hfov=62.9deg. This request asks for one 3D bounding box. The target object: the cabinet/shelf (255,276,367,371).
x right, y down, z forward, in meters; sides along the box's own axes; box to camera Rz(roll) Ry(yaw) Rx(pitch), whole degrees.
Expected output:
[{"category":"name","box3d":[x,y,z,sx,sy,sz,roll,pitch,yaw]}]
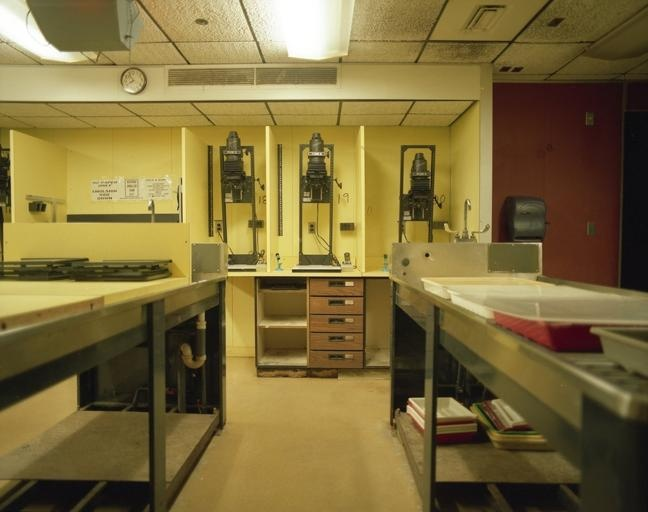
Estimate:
[{"category":"cabinet/shelf","box3d":[-0.131,0.538,4.883,0.965,0.827,0.817,0,12,-2]}]

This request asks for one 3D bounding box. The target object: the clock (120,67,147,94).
[{"category":"clock","box3d":[-1.632,-1.515,4.544,0.222,0.233,0.056,0,1,3]}]
